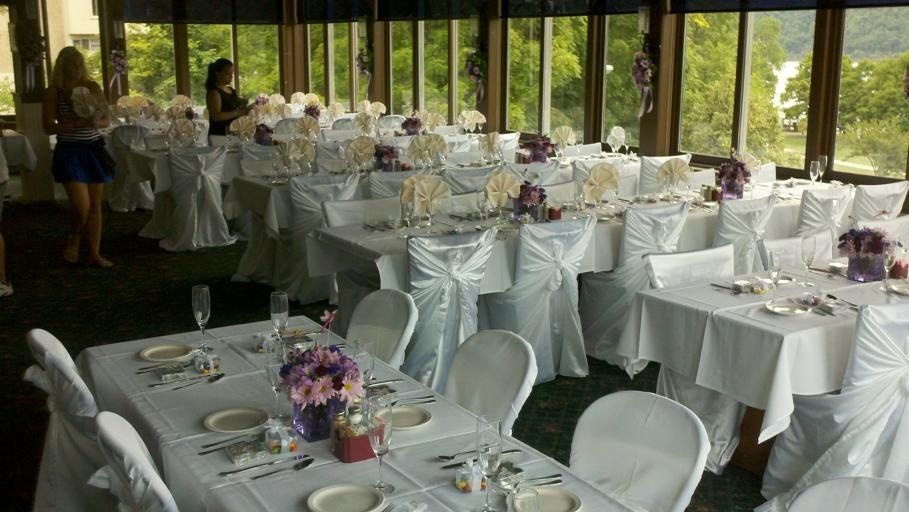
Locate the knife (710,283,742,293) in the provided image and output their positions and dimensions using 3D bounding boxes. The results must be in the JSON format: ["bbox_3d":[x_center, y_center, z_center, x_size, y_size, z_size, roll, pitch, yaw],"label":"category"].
[{"bbox_3d":[2.089,0.243,4.869,0.240,0.067,0.065,2,11,24],"label":"knife"}]

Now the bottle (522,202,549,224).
[{"bbox_3d":[0.806,-0.421,6.185,0.258,0.160,0.137,-1,15,6],"label":"bottle"}]

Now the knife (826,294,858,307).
[{"bbox_3d":[2.831,0.330,4.635,0.022,0.010,0.198,-24,24,-14],"label":"knife"}]

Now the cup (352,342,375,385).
[{"bbox_3d":[-0.512,0.611,3.534,0.102,0.278,0.128,3,16,19],"label":"cup"}]

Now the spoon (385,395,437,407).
[{"bbox_3d":[-0.251,0.821,3.665,0.279,0.031,0.082,-2,14,-5],"label":"spoon"}]

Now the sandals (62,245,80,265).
[{"bbox_3d":[-4.817,-0.017,8.103,0.136,0.188,0.418,15,2,-45],"label":"sandals"}]

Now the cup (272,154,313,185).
[{"bbox_3d":[-1.964,-1.052,7.734,0.439,0.283,0.418,1,8,0],"label":"cup"}]

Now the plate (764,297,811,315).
[{"bbox_3d":[2.386,0.363,4.568,0.312,0.051,0.239,-6,14,-13],"label":"plate"}]

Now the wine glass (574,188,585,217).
[{"bbox_3d":[1.278,-0.563,6.447,0.097,0.266,0.201,5,17,25],"label":"wine glass"}]

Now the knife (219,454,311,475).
[{"bbox_3d":[-0.976,1.071,3.257,0.485,0.055,0.049,-2,29,-20],"label":"knife"}]

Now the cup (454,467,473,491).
[{"bbox_3d":[0.056,1.104,3.184,0.098,0.101,0.096,-1,6,0],"label":"cup"}]

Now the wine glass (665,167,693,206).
[{"bbox_3d":[2.439,-0.784,7.031,0.326,0.518,0.311,0,10,12],"label":"wine glass"}]

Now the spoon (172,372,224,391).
[{"bbox_3d":[-1.506,0.747,3.839,0.349,0.019,0.094,-14,34,-29],"label":"spoon"}]

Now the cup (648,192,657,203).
[{"bbox_3d":[2.164,-0.628,6.912,0.114,0.053,0.118,-4,22,2],"label":"cup"}]
